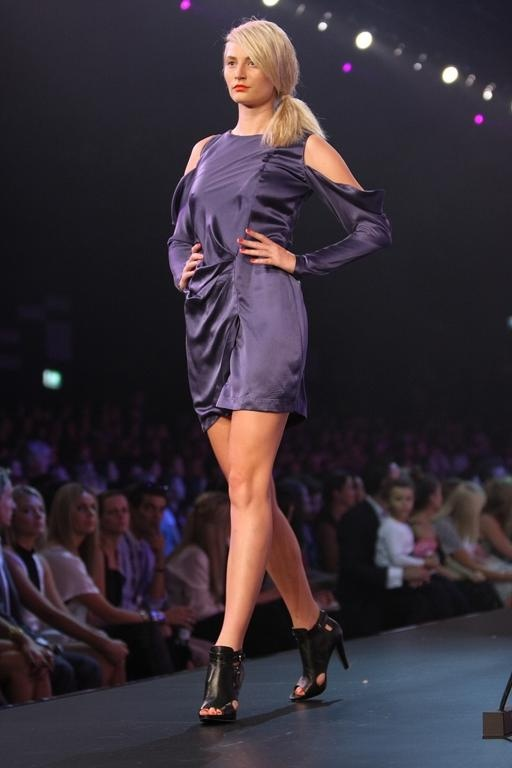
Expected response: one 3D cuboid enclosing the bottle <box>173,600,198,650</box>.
[{"bbox_3d":[-0.196,0.647,2.075,0.041,0.107,0.085,3,-11,-34],"label":"bottle"}]
